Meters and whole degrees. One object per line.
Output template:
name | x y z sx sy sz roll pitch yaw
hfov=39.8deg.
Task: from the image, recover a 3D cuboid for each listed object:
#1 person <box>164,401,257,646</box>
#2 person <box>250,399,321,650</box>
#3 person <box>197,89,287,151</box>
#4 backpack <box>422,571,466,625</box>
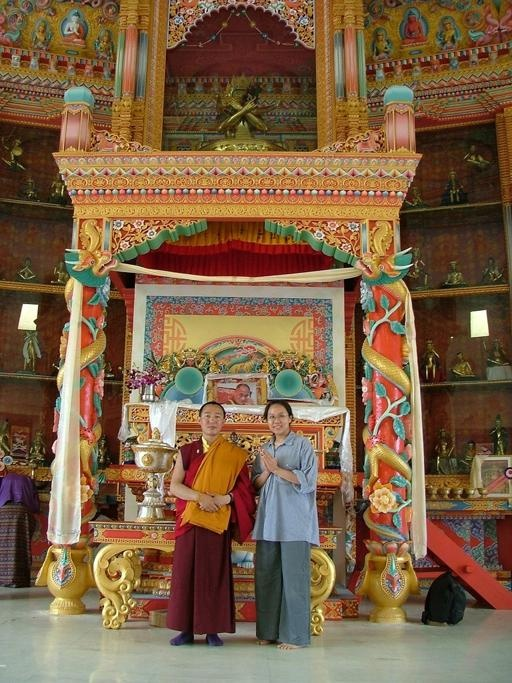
person | -0.208 0.821 3.398 0.408 1.061 0.302 -1 -9 -1
person | 0.137 0.861 3.428 0.298 1.145 0.214 -4 -10 17
person | -0.146 -2.305 7.160 0.941 0.696 0.721 -3 21 -13
backpack | 1.110 1.520 4.168 0.276 0.294 0.234 0 -9 -5
